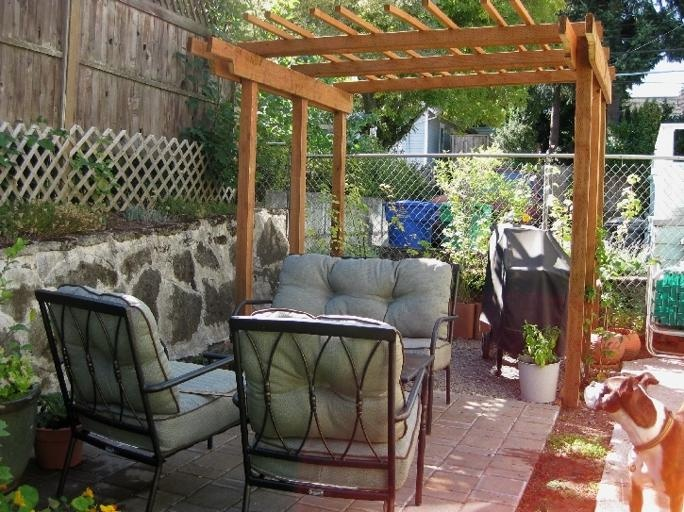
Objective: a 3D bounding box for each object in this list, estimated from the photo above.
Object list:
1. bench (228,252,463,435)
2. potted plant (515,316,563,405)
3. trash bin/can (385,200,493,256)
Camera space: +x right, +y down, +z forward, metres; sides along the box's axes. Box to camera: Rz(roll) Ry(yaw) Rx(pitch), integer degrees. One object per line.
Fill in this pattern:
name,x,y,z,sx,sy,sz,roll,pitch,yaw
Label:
bench,0.259,0.211,5.052,1.547,1.479,1.073,2,10,10
potted plant,1.652,0.878,5.078,0.349,0.626,0.335,1,8,4
trash bin/can,1.111,-0.477,8.408,0.854,0.667,0.808,1,0,36
